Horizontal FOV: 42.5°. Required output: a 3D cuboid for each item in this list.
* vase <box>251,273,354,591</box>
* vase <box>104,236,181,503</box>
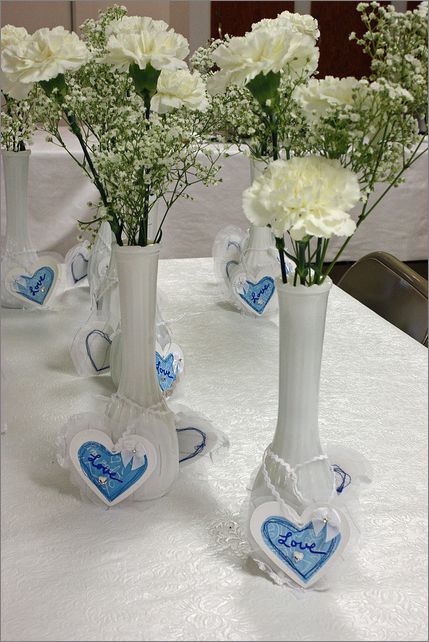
[{"bbox_3d":[0.064,0.083,0.385,0.071,0.219,0.053,4,19,5],"label":"vase"},{"bbox_3d":[-0.064,0.050,0.476,0.063,0.233,0.047,-1,19,-12],"label":"vase"}]
